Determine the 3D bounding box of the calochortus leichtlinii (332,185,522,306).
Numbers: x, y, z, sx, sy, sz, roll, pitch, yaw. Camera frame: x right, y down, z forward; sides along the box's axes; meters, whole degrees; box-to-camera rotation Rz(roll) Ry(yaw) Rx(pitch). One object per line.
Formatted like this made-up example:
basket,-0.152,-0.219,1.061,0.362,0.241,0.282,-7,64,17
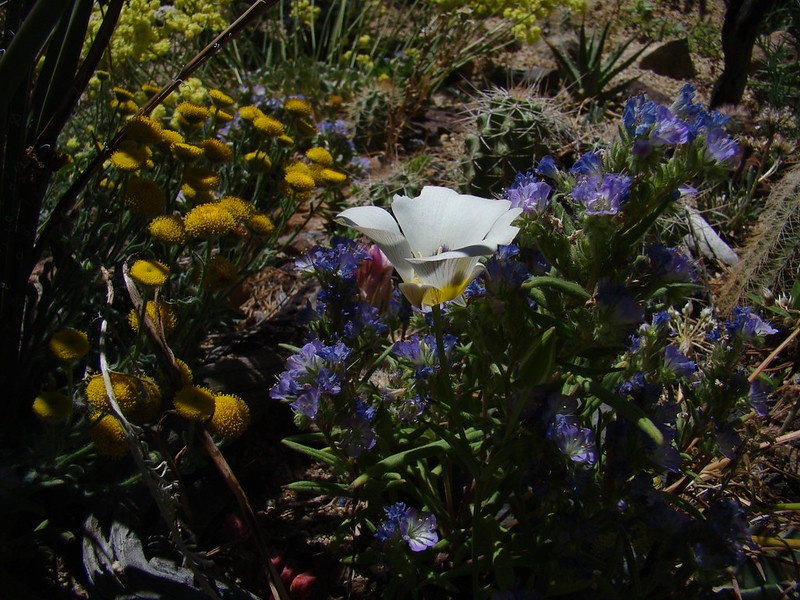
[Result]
calochortus leichtlinii,0.079,-0.079,1.404,0.286,0.168,0.356,-11,22,-6
